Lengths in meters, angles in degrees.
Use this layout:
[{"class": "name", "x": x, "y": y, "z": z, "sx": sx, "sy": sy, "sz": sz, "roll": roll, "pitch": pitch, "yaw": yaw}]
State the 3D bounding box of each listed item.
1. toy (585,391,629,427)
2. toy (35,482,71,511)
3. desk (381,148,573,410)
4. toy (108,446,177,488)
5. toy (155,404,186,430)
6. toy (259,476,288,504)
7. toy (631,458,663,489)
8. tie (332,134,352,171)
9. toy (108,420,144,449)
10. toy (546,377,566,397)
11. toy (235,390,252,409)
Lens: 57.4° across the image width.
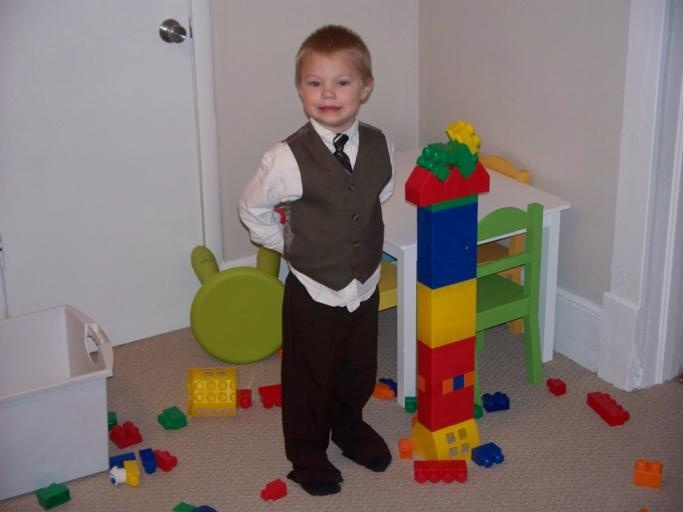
[{"class": "toy", "x": 0.969, "y": 0.536, "z": 2.237, "sx": 0.118, "sy": 0.065, "sz": 0.138, "roll": -12, "pitch": 21, "yaw": -17}, {"class": "toy", "x": -0.906, "y": 0.748, "z": 1.957, "sx": 0.098, "sy": 0.047, "sz": 0.079, "roll": -18, "pitch": 23, "yaw": -30}, {"class": "desk", "x": 0.417, "y": 0.010, "z": 2.594, "sx": 0.755, "sy": 0.833, "sz": 0.815, "roll": -14, "pitch": 26, "yaw": -28}, {"class": "toy", "x": -0.660, "y": 0.682, "z": 2.052, "sx": 0.145, "sy": 0.050, "sz": 0.115, "roll": -6, "pitch": 27, "yaw": -24}, {"class": "toy", "x": -0.609, "y": 0.581, "z": 2.238, "sx": 0.074, "sy": 0.040, "sz": 0.076, "roll": -18, "pitch": 37, "yaw": -41}, {"class": "toy", "x": -0.215, "y": 0.719, "z": 1.943, "sx": 0.073, "sy": 0.055, "sz": 0.050, "roll": -14, "pitch": 28, "yaw": -33}, {"class": "toy", "x": 0.959, "y": 0.678, "z": 1.947, "sx": 0.073, "sy": 0.070, "sz": 0.078, "roll": 3, "pitch": 12, "yaw": 22}, {"class": "tie", "x": 0.003, "y": -0.295, "z": 1.784, "sx": 0.047, "sy": 0.106, "sz": 0.040, "roll": -5, "pitch": 17, "yaw": -1}, {"class": "toy", "x": -0.759, "y": 0.618, "z": 2.180, "sx": 0.086, "sy": 0.061, "sz": 0.088, "roll": -14, "pitch": 30, "yaw": -35}, {"class": "toy", "x": 0.805, "y": 0.489, "z": 2.337, "sx": 0.056, "sy": 0.041, "sz": 0.059, "roll": -15, "pitch": 33, "yaw": -17}, {"class": "toy", "x": -0.365, "y": 0.532, "z": 2.324, "sx": 0.052, "sy": 0.065, "sz": 0.014, "roll": -2, "pitch": -2, "yaw": 2}]
